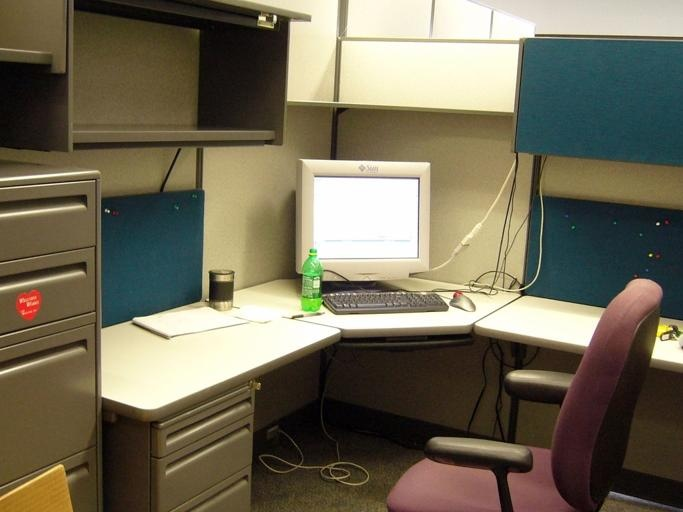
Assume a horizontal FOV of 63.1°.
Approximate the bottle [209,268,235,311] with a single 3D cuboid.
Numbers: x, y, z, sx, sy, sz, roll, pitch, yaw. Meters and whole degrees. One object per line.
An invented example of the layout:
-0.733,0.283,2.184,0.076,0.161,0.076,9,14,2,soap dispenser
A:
-0.494,0.140,2.353,0.131,0.203,0.144,3,5,0,bottle
